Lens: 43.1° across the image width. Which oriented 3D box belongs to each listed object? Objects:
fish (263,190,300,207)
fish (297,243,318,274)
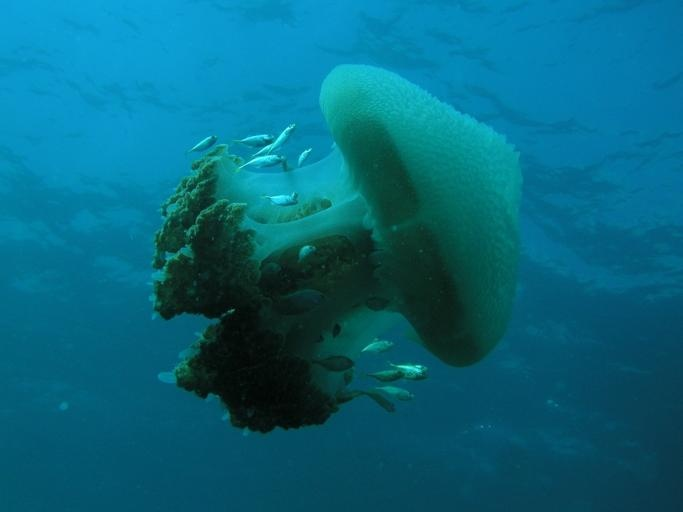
[{"bbox_3d":[-1.341,-1.133,17.113,0.952,0.230,0.342,1,91,14],"label":"fish"},{"bbox_3d":[-0.695,0.045,16.716,0.509,0.377,0.254,-27,36,6],"label":"fish"}]
